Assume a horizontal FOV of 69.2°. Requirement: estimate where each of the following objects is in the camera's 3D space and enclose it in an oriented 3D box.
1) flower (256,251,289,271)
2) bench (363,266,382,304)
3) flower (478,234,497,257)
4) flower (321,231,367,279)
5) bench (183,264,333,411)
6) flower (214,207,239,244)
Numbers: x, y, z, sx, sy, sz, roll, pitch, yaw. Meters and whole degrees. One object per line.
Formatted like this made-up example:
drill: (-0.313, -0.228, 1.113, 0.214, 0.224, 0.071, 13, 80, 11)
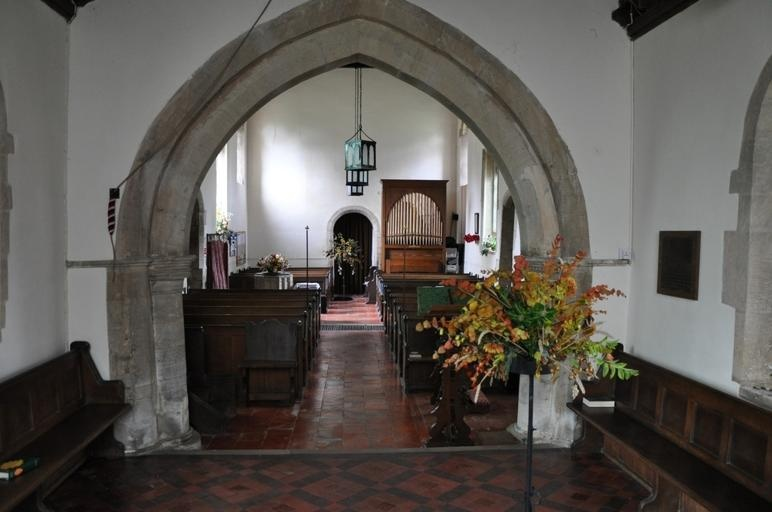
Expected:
flower: (-2.782, 0.179, 13.759, 0.602, 0.438, 0.602, 2, 1, -8)
bench: (-0.350, 0.789, 15.202, 0.360, 0.999, 0.967, 2, -2, -1)
flower: (2.397, -0.265, 12.968, 0.290, 0.421, 0.403, 2, -1, 37)
flower: (-1.354, 0.081, 16.757, 1.477, 1.551, 1.106, 3, 3, 1)
bench: (-1.825, 1.144, 7.510, 1.743, 0.756, 1.334, 1, 17, -3)
flower: (-4.004, -0.738, 13.575, 0.261, 0.639, 0.618, 14, 6, 24)
